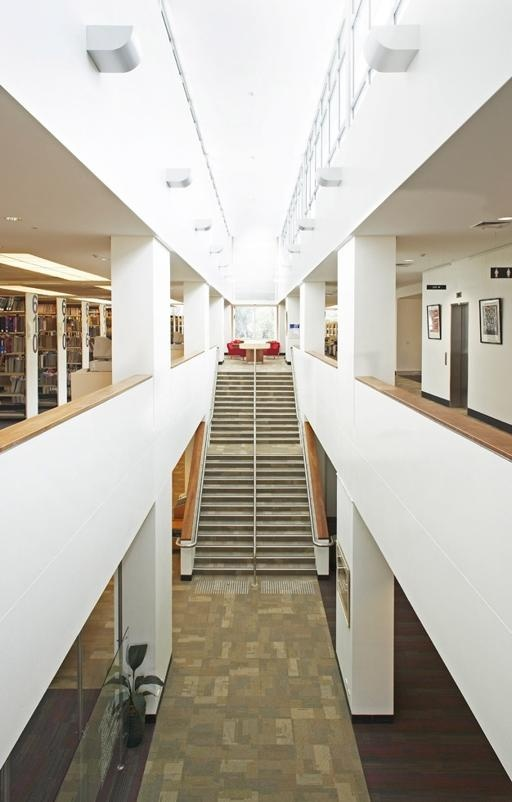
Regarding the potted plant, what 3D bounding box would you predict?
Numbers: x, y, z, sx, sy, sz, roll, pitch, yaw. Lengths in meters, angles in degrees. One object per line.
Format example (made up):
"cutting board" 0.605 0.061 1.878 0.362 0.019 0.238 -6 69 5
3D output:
"potted plant" -1.428 3.450 5.364 0.501 1.067 0.489 1 -13 -10
